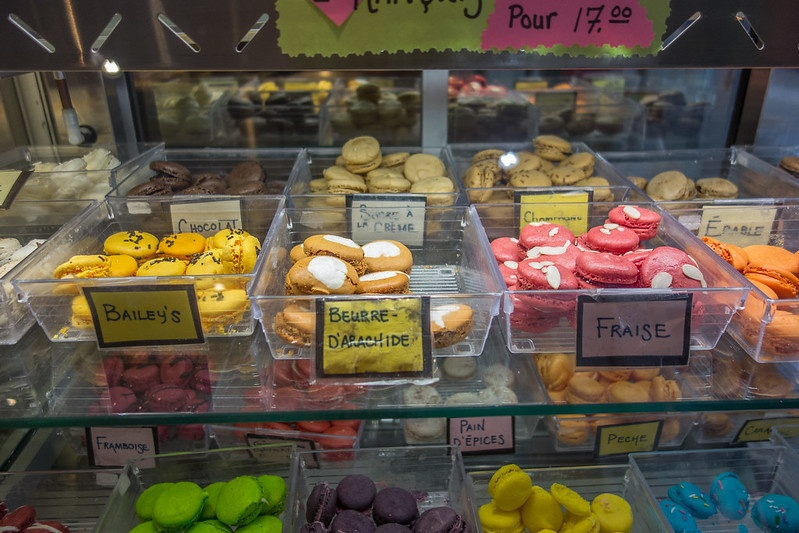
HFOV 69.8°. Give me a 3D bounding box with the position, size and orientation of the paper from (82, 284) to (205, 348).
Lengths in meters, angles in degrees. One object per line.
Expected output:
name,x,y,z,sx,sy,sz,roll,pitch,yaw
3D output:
paper,-0.734,0.135,1.656,0.263,0.143,0.009,1,32,-1

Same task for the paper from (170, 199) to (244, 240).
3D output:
paper,-0.696,-0.177,2.073,0.214,0.145,0.024,0,28,-3

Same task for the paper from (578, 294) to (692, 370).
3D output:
paper,0.668,0.176,1.633,0.268,0.147,0.033,-1,12,1

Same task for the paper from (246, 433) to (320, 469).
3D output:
paper,-0.416,0.634,2.013,0.178,0.034,0.165,5,11,0

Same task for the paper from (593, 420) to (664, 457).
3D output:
paper,0.786,0.590,1.981,0.208,0.100,0.008,-6,33,-3

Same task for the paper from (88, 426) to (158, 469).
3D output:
paper,-0.944,0.615,1.974,0.307,0.172,0.037,3,24,0
